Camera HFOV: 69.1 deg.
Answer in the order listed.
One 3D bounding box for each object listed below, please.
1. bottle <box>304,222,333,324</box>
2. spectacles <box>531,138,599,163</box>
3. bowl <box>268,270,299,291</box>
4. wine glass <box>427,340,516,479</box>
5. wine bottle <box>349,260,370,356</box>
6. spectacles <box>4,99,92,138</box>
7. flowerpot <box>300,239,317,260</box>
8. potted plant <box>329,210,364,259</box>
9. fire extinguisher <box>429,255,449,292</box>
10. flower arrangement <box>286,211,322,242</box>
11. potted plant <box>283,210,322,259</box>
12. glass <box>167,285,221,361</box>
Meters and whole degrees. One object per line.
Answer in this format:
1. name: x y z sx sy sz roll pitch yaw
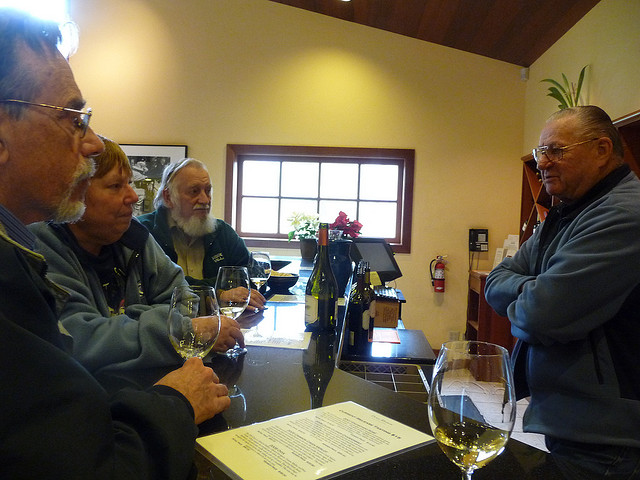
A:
1. bottle: -0.001 0.147 1.638 0.100 0.332 0.117 2 5 -3
2. spectacles: 1.048 -0.387 2.022 0.097 0.101 0.265 -2 7 -41
3. bowl: -0.196 0.224 2.474 0.148 0.096 0.215 2 5 -2
4. wine glass: 0.274 0.326 0.867 0.147 0.262 0.134 2 5 3
5. wine bottle: 0.157 0.266 1.821 0.080 0.370 0.083 3 16 -1
6. spectacles: -0.634 -0.300 1.139 0.098 0.064 0.207 2 11 -3
7. flowerpot: -0.103 0.089 4.055 0.179 0.153 0.158 0 -3 -5
8. potted plant: 0.197 -0.040 3.138 0.274 0.301 0.263 8 8 42
9. fire extinguisher: 1.203 0.347 4.724 0.183 0.381 0.101 3 5 12
10. flower arrangement: -0.149 -0.130 4.295 0.304 0.237 0.317 -1 9 -5
11. potted plant: -0.141 -0.076 4.256 0.494 0.534 0.432 0 0 -8
12. glass: -0.334 0.282 1.253 0.143 0.336 0.134 -1 9 -15
